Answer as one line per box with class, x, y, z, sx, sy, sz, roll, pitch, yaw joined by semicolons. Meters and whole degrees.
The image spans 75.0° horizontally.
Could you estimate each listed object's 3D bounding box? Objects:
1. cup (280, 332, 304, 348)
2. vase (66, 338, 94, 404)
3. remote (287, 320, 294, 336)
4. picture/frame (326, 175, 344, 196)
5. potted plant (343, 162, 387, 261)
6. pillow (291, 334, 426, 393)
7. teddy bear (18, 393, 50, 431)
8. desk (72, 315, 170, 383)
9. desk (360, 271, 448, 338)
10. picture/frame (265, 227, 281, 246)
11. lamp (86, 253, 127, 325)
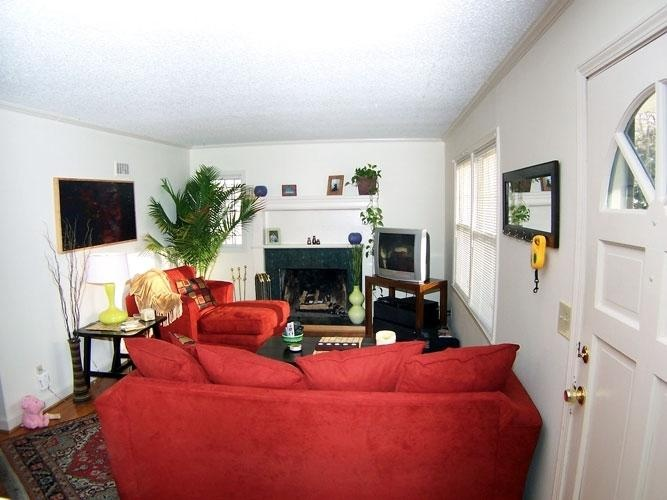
cup;-0.341;0.800;3.809;0.136;0.096;0.138;0;8;0
vase;-2.350;1.105;4.057;0.158;0.628;0.259;0;3;-16
remote;-0.378;0.697;3.834;0.074;0.108;0.100;0;5;-6
picture/frame;0.021;-0.900;6.042;0.253;0.345;0.011;2;8;7
potted plant;0.420;-0.537;5.947;0.521;1.279;0.374;2;3;9
pillow;0.135;0.617;2.748;0.706;0.278;0.524;-4;6;2
teddy bear;-2.517;1.378;3.678;0.217;0.274;0.200;5;1;-10
desk;-2.058;0.844;4.221;0.688;0.728;0.731;1;9;2
desk;0.858;0.508;5.395;0.712;1.066;1.015;-2;3;-37
picture/frame;-0.878;-0.176;6.220;0.239;0.315;0.029;-1;-4;-3
lamp;-2.236;0.380;4.264;0.327;0.704;0.732;-1;3;-30
